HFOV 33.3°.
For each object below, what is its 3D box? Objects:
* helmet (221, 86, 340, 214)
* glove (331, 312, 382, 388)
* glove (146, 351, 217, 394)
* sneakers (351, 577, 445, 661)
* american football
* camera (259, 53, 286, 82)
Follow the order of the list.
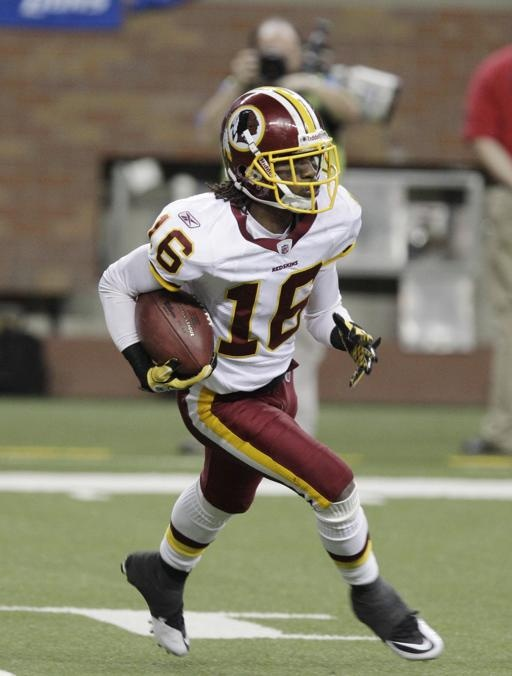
[{"bbox_3d":[0.057,-0.435,2.021,0.281,0.294,0.285,0,13,-2],"label":"helmet"},{"bbox_3d":[0.252,0.030,2.146,0.124,0.069,0.244,13,23,-12],"label":"glove"},{"bbox_3d":[-0.166,0.078,1.931,0.132,0.046,0.073,-25,38,-31],"label":"glove"},{"bbox_3d":[0.322,0.659,1.979,0.233,0.198,0.080,10,17,37],"label":"sneakers"},{"bbox_3d":[-0.173,-0.005,2.009,0.156,0.130,0.217,-40,68,-10],"label":"american football"},{"bbox_3d":[0.092,-1.535,4.937,0.148,0.169,0.172,1,13,3],"label":"camera"}]
